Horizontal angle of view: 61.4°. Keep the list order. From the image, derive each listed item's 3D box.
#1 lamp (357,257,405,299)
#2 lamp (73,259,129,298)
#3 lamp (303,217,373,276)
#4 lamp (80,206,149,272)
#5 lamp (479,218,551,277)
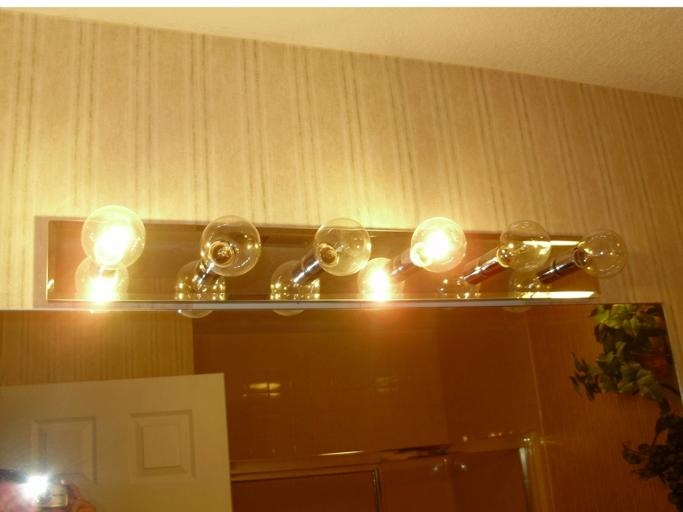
[{"bbox_3d":[0.087,0.059,1.268,0.088,0.090,0.057,4,-16,-11],"label":"lamp"},{"bbox_3d":[-0.469,0.053,1.122,0.082,0.092,0.081,-1,-37,-21],"label":"lamp"},{"bbox_3d":[0.003,0.005,1.211,0.109,0.115,0.226,9,-14,-34],"label":"lamp"},{"bbox_3d":[-0.436,-0.035,1.097,0.116,0.131,0.115,1,8,6],"label":"lamp"},{"bbox_3d":[0.405,-0.024,1.287,0.091,0.091,0.088,7,-23,-30],"label":"lamp"}]
